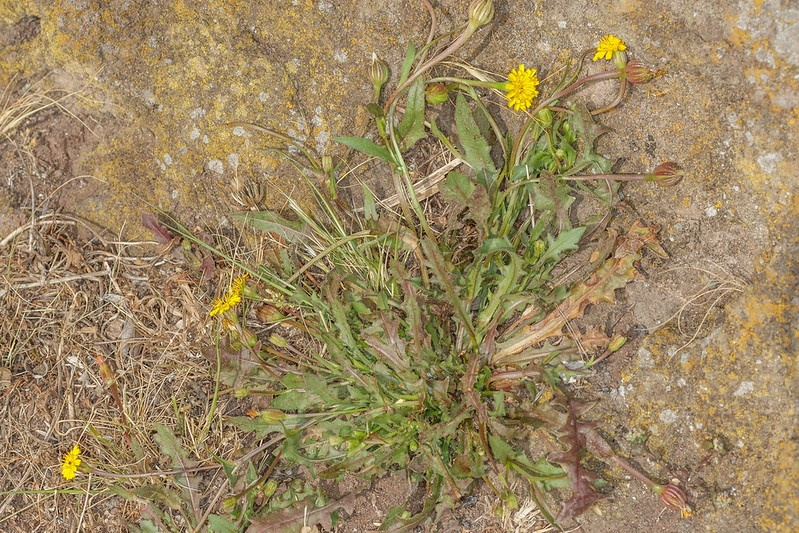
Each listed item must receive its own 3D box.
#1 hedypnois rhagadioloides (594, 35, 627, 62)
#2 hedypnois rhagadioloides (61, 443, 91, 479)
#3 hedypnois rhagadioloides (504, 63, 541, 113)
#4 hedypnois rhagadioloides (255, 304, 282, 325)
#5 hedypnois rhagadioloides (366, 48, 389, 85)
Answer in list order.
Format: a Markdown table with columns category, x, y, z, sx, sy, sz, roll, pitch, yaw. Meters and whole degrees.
| category | x | y | z | sx | sy | sz | roll | pitch | yaw |
| --- | --- | --- | --- | --- | --- | --- | --- | --- | --- |
| hedypnois rhagadioloides | 1.148 | -1.209 | 3.938 | 0.143 | 0.072 | 0.163 | 10 | 99 | -30 |
| hedypnois rhagadioloides | -1.797 | 1.067 | 3.930 | 0.121 | 0.111 | 0.046 | 25 | 105 | 12 |
| hedypnois rhagadioloides | 0.664 | -1.013 | 3.896 | 0.208 | 0.216 | 0.078 | 20 | 90 | 27 |
| hedypnois rhagadioloides | -0.724 | 0.268 | 4.045 | 0.162 | 0.072 | 0.098 | 15 | 65 | -13 |
| hedypnois rhagadioloides | -0.110 | -1.107 | 3.989 | 0.108 | 0.160 | 0.227 | 3 | 82 | 1 |
